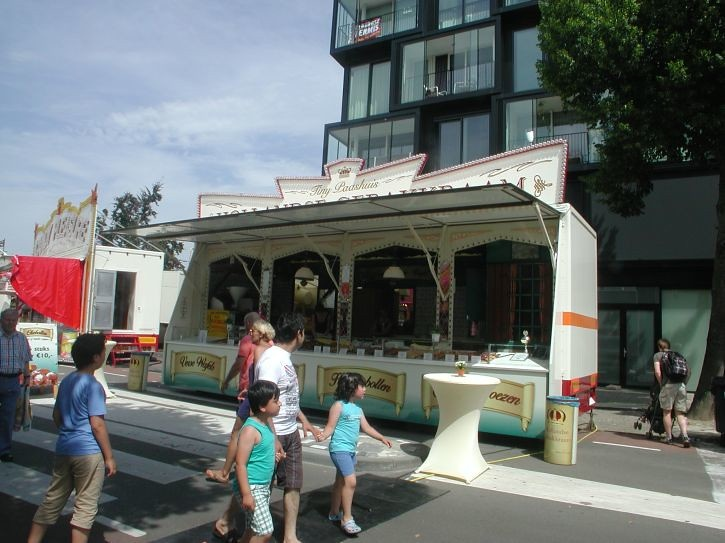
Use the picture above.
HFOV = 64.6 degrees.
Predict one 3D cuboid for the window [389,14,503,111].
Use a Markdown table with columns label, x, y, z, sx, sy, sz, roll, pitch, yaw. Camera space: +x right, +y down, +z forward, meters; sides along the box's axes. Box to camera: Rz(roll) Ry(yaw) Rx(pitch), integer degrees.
| label | x | y | z | sx | sy | sz | roll | pitch | yaw |
| --- | --- | --- | --- | --- | --- | --- | --- | --- | --- |
| window | 3.531 | -8.503 | 23.331 | 4.851 | 2.820 | 0.111 | -1 | -7 | 35 |

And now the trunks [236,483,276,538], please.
| label | x | y | z | sx | sy | sz | roll | pitch | yaw |
| --- | --- | --- | --- | --- | --- | --- | --- | --- | --- |
| trunks | -1.132 | 2.424 | 5.892 | 0.432 | 0.741 | 0.650 | -1 | -11 | -11 |

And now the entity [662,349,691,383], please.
| label | x | y | z | sx | sy | sz | roll | pitch | yaw |
| --- | --- | --- | --- | --- | --- | --- | --- | --- | --- |
| entity | 5.984 | 1.849 | 11.065 | 0.471 | 0.646 | 0.283 | 2 | 0 | 26 |

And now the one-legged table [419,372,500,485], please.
| label | x | y | z | sx | sy | sz | roll | pitch | yaw |
| --- | --- | --- | --- | --- | --- | --- | --- | --- | --- |
| one-legged table | 1.676 | 2.389 | 9.125 | 1.432 | 1.581 | 1.335 | 1 | -5 | 38 |

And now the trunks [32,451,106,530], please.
| label | x | y | z | sx | sy | sz | roll | pitch | yaw |
| --- | --- | --- | --- | --- | --- | --- | --- | --- | --- |
| trunks | -2.976 | 2.220 | 5.856 | 0.614 | 0.712 | 0.266 | 2 | 0 | 14 |

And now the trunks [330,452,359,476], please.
| label | x | y | z | sx | sy | sz | roll | pitch | yaw |
| --- | --- | --- | --- | --- | --- | --- | --- | --- | --- |
| trunks | -0.211 | 2.225 | 6.808 | 0.267 | 0.349 | 0.454 | -12 | -11 | -8 |

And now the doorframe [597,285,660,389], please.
| label | x | y | z | sx | sy | sz | roll | pitch | yaw |
| --- | --- | --- | --- | --- | --- | --- | --- | --- | --- |
| doorframe | 8.513 | 2.101 | 18.531 | 1.767 | 3.400 | 0.339 | 2 | 0 | 22 |

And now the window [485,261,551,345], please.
| label | x | y | z | sx | sy | sz | roll | pitch | yaw |
| --- | --- | --- | --- | --- | --- | --- | --- | --- | --- |
| window | 3.968 | 0.810 | 14.463 | 1.987 | 2.612 | 0.210 | -3 | -9 | 35 |

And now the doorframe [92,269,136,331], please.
| label | x | y | z | sx | sy | sz | roll | pitch | yaw |
| --- | --- | --- | --- | --- | --- | --- | --- | --- | --- |
| doorframe | -8.348 | 0.859 | 19.196 | 0.478 | 2.463 | 1.931 | 2 | -5 | 22 |

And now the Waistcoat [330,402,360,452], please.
| label | x | y | z | sx | sy | sz | roll | pitch | yaw |
| --- | --- | --- | --- | --- | --- | --- | --- | --- | --- |
| Waistcoat | -0.223 | 1.837 | 6.760 | 0.370 | 0.597 | 0.310 | 23 | -35 | -33 |

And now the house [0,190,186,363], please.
| label | x | y | z | sx | sy | sz | roll | pitch | yaw |
| --- | --- | --- | --- | --- | --- | --- | --- | --- | --- |
| house | -7.088 | 0.582 | 15.411 | 4.552 | 4.787 | 6.497 | 7 | -11 | -34 |
